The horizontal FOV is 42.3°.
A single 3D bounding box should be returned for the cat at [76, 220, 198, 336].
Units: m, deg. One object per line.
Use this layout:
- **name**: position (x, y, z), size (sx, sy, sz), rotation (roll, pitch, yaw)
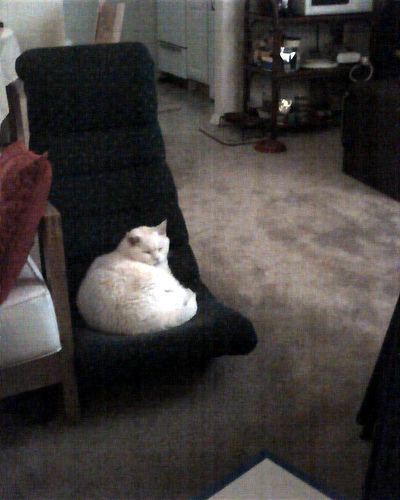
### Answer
- **cat**: position (-0.101, 0.060, 0.807), size (0.120, 0.115, 0.221), rotation (-2, 51, -13)
